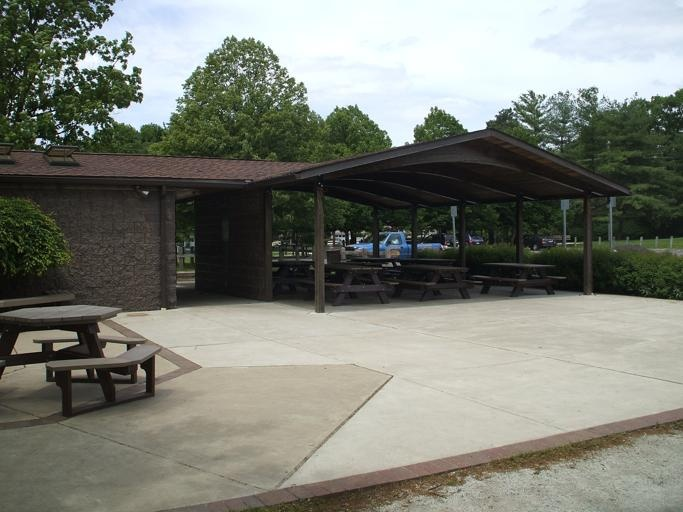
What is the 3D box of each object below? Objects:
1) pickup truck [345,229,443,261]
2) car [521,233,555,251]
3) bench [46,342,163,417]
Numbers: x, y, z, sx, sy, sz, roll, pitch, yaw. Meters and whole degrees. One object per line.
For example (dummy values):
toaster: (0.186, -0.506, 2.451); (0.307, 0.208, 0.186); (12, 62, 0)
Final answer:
pickup truck: (3.145, -0.571, 31.587); (5.536, 1.826, 2.752); (1, -2, -22)
car: (17.649, -1.340, 50.355); (2.511, 1.301, 6.094); (1, 4, 20)
bench: (-2.715, 1.372, 6.289); (1.081, 0.567, 1.208); (2, 4, 23)
